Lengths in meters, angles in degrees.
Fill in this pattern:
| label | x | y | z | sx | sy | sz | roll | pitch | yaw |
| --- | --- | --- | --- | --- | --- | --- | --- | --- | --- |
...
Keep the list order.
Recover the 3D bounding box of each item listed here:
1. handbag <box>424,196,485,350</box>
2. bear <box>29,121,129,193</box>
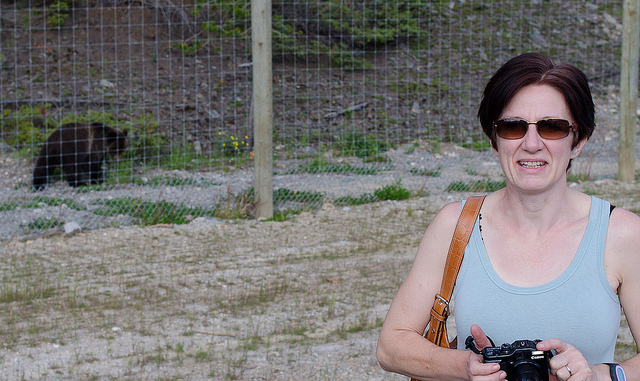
| label | x | y | z | sx | sy | sz | roll | pitch | yaw |
| --- | --- | --- | --- | --- | --- | --- | --- | --- | --- |
| handbag | 1.680 | 1.060 | 12.193 | 0.521 | 2.141 | 0.497 | -1 | 0 | 1 |
| bear | -4.688 | -0.686 | 18.285 | 1.812 | 1.237 | 0.917 | -3 | 8 | -13 |
